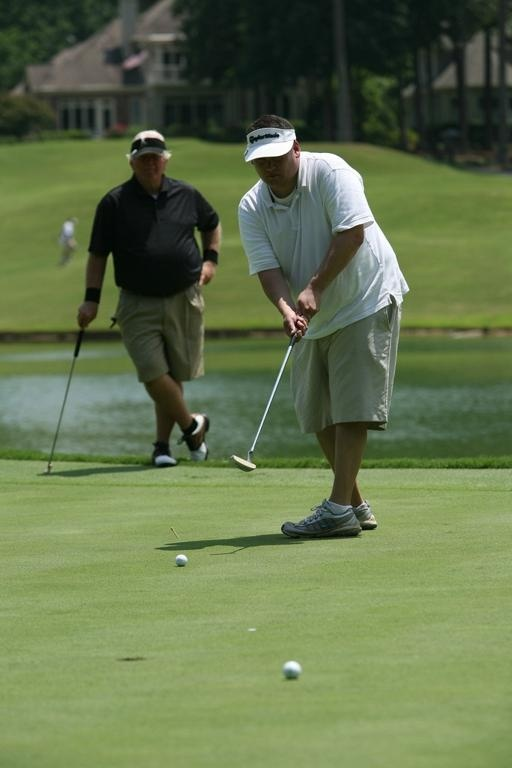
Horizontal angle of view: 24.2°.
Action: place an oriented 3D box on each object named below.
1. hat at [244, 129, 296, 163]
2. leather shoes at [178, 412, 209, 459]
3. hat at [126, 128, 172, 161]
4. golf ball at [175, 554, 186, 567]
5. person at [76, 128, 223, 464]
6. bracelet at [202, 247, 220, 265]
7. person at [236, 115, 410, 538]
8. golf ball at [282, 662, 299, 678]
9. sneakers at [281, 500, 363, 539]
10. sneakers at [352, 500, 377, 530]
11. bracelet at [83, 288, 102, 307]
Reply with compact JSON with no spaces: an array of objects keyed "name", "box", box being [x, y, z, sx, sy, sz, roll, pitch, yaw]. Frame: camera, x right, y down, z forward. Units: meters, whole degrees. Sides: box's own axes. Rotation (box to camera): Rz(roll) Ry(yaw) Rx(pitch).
[{"name":"hat","box":[0.049,-0.844,4.239,0.179,0.134,0.229,0,5,0]},{"name":"leather shoes","box":[-0.330,0.304,6.756,0.109,0.294,0.153,5,20,32]},{"name":"hat","box":[-0.586,-1.292,6.447,0.193,0.127,0.258,0,-3,1]},{"name":"golf ball","box":[-0.225,0.545,3.704,0.032,0.030,0.037,-46,-30,25]},{"name":"person","box":[-0.521,-0.340,6.593,0.414,1.597,0.862,4,7,41]},{"name":"bracelet","box":[-0.252,-0.731,6.900,0.095,0.065,0.096,7,6,40]},{"name":"person","box":[0.251,-0.208,4.414,0.632,1.523,0.546,-1,5,-1]},{"name":"golf ball","box":[0.070,0.596,2.508,0.032,0.029,0.031,26,-2,1]},{"name":"sneakers","box":[0.244,0.486,4.309,0.346,0.138,0.114,1,-8,-10]},{"name":"sneakers","box":[0.394,0.486,4.428,0.050,0.063,0.141,-23,16,4]},{"name":"bracelet","box":[-0.873,-0.461,6.451,0.104,0.097,0.096,1,6,-28]}]
